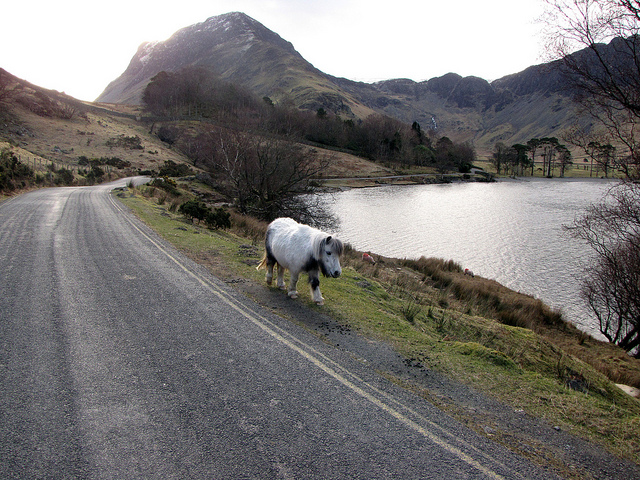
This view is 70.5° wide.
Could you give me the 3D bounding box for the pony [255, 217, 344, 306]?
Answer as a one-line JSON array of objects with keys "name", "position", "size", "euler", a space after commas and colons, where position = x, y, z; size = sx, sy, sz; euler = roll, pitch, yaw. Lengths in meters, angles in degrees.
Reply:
[{"name": "pony", "position": [-0.713, 0.818, 16.048], "size": [1.273, 2.593, 3.558], "euler": [6, 10, -39]}]
